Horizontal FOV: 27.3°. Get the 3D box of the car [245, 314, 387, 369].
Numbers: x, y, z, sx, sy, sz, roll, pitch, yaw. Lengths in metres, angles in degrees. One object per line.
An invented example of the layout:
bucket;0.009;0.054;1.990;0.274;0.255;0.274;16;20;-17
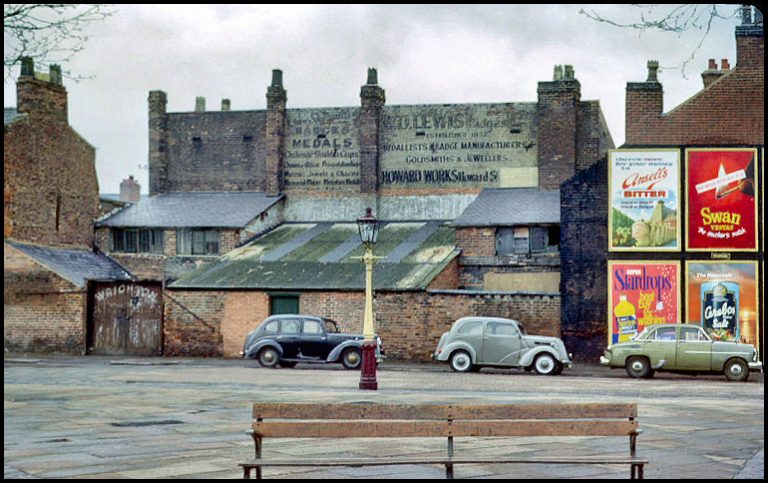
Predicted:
car;-3.883;4.317;68.931;6.487;1.994;2.403;4;2;-25
